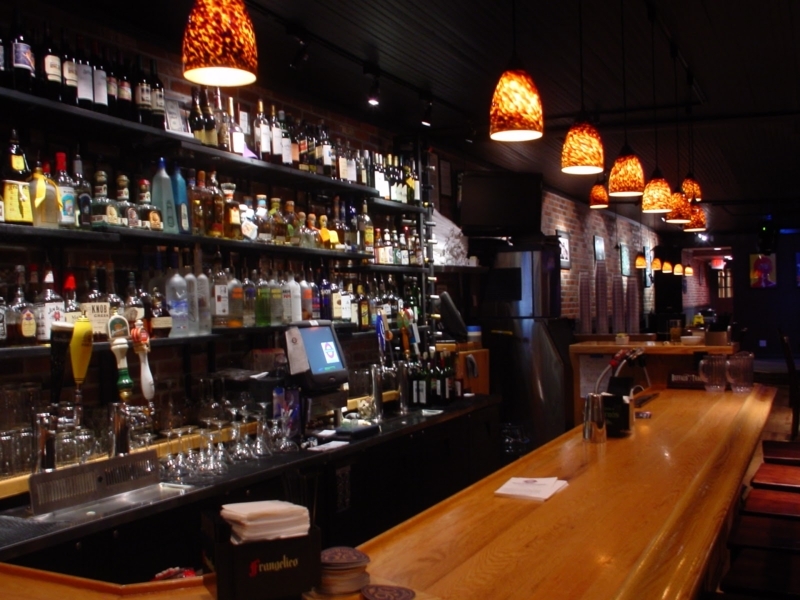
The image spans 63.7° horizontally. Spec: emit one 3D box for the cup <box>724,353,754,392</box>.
[{"bbox_3d":[2.377,0.493,4.517,0.170,0.249,0.229,3,4,28],"label":"cup"}]

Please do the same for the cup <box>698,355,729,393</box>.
[{"bbox_3d":[2.211,0.505,4.521,0.189,0.236,0.170,2,4,19],"label":"cup"}]

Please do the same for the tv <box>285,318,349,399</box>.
[{"bbox_3d":[-0.490,0.339,3.692,0.226,0.449,0.419,-20,-16,29],"label":"tv"}]

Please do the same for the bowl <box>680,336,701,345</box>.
[{"bbox_3d":[2.701,0.364,5.974,0.174,0.060,0.187,1,4,0],"label":"bowl"}]

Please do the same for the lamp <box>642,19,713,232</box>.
[{"bbox_3d":[2.513,-1.610,5.842,0.439,2.439,0.909,-2,-7,41],"label":"lamp"}]

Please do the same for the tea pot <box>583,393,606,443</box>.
[{"bbox_3d":[0.988,0.577,3.269,0.111,0.234,0.167,2,4,18],"label":"tea pot"}]

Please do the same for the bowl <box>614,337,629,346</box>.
[{"bbox_3d":[2.291,0.415,6.651,0.091,0.135,0.132,1,-3,24],"label":"bowl"}]

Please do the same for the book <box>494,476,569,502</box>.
[{"bbox_3d":[0.534,0.751,2.609,0.239,0.027,0.258,3,5,33],"label":"book"}]

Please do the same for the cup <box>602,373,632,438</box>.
[{"bbox_3d":[1.152,0.553,3.408,0.147,0.281,0.433,2,4,20],"label":"cup"}]

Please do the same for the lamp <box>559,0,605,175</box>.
[{"bbox_3d":[1.176,-1.319,4.139,0.225,1.131,1.386,1,4,15],"label":"lamp"}]

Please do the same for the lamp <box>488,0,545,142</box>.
[{"bbox_3d":[0.572,-0.984,3.143,0.244,0.379,0.307,1,4,10],"label":"lamp"}]
